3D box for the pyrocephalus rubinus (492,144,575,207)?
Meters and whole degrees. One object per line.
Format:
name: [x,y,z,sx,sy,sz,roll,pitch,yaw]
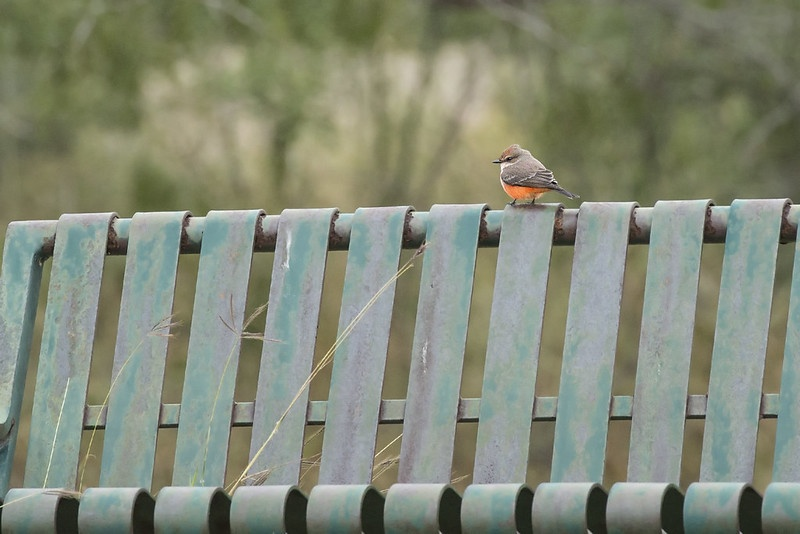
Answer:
pyrocephalus rubinus: [0.596,-0.397,9.467,0.204,0.634,0.420,-37,83,-1]
